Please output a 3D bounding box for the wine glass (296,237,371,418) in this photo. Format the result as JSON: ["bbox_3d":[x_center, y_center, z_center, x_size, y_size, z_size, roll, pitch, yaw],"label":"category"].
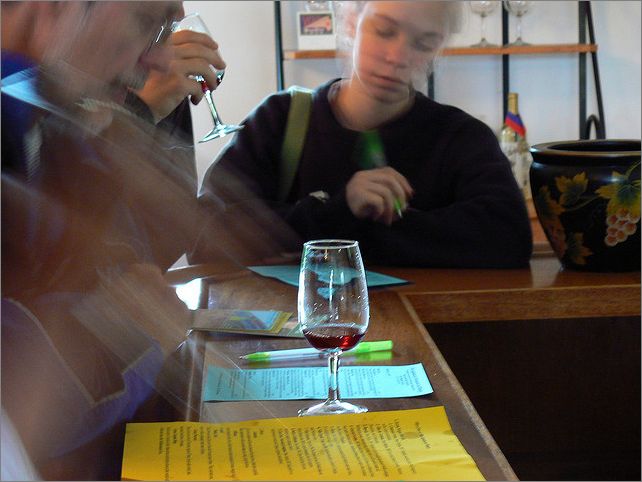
[{"bbox_3d":[0.013,0.082,0.594,0.075,0.157,0.196,-1,12,-2],"label":"wine glass"}]
